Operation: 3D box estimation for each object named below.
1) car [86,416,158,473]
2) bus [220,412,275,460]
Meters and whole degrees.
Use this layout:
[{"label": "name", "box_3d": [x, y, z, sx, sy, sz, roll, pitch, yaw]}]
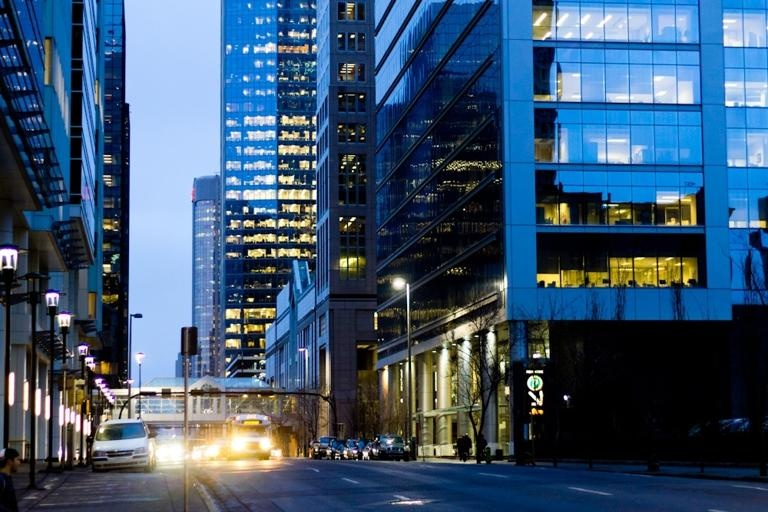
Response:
[{"label": "car", "box_3d": [-16.059, 11.736, 70.891, 3.684, 2.817, 2.110, -2, 0, -18]}, {"label": "bus", "box_3d": [-11.567, 15.357, 96.967, 2.888, 2.819, 5.742, 2, -14, -9]}]
